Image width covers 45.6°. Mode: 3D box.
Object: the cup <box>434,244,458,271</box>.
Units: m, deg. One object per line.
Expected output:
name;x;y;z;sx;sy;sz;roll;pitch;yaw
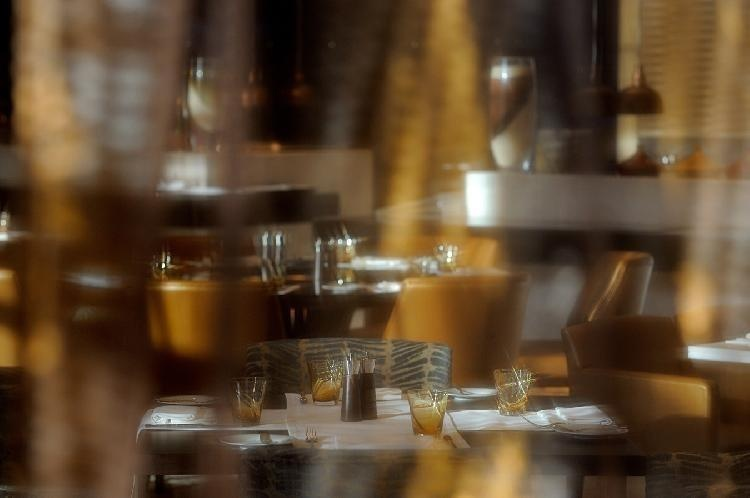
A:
cup;0.216;0.028;2.792;0.078;0.084;0.075;1;5;0

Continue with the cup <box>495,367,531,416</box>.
cup;0.231;0.247;1.522;0.072;0.076;0.072;-2;-7;0

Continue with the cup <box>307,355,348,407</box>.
cup;-0.086;0.236;1.568;0.076;0.077;0.075;-1;-3;0

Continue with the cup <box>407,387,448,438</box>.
cup;0.085;0.265;1.442;0.071;0.074;0.077;-3;-2;0

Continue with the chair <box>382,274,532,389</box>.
chair;0.201;0.156;2.042;0.285;0.319;0.265;3;2;40

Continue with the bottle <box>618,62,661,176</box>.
bottle;0.642;-0.321;2.167;0.107;0.252;0.370;4;11;15

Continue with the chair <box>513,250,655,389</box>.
chair;0.595;0.181;2.376;0.300;0.310;0.245;-15;8;-6

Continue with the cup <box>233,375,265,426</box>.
cup;-0.207;0.258;1.471;0.064;0.069;0.065;-1;-13;0

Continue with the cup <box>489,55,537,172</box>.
cup;0.270;-0.261;1.739;0.102;0.223;0.069;0;12;-5
